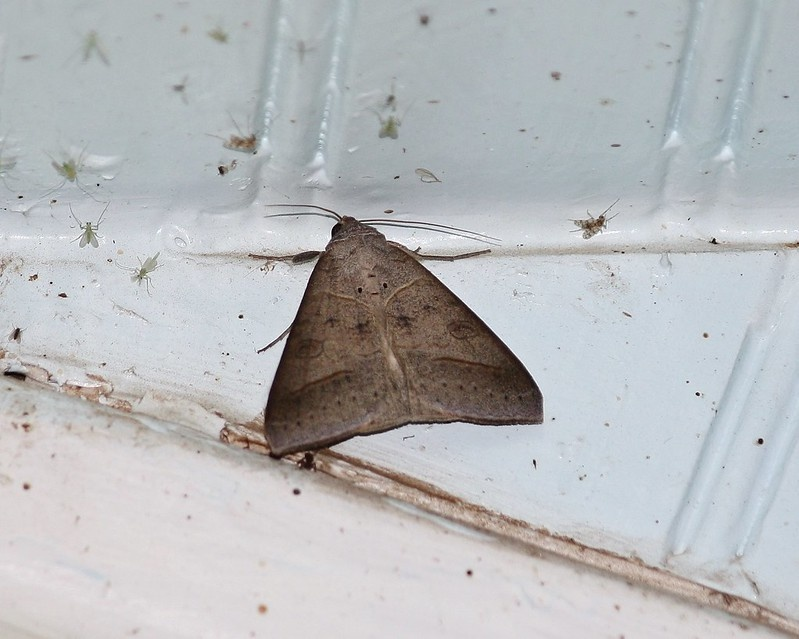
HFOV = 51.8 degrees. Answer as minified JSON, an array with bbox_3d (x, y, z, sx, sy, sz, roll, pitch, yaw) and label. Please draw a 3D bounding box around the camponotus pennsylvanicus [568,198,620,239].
[{"bbox_3d":[0.973,-0.501,4.129,0.220,0.161,0.059,-40,-6,11],"label":"camponotus pennsylvanicus"}]
